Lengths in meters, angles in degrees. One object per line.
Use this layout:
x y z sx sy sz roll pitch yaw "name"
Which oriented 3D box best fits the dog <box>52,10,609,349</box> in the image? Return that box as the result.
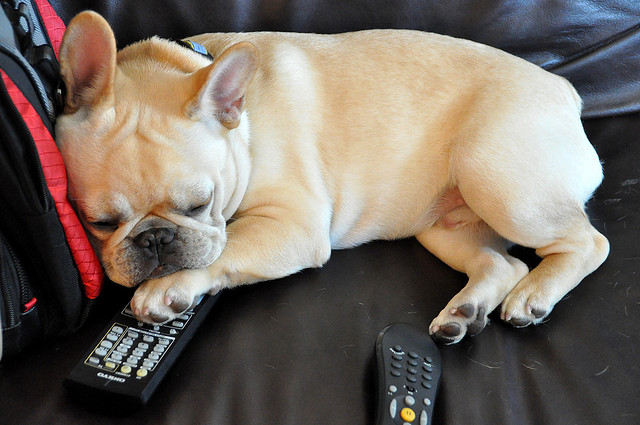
0.034 -0.170 1.994 1.612 0.876 1.029 -4 18 -23 "dog"
